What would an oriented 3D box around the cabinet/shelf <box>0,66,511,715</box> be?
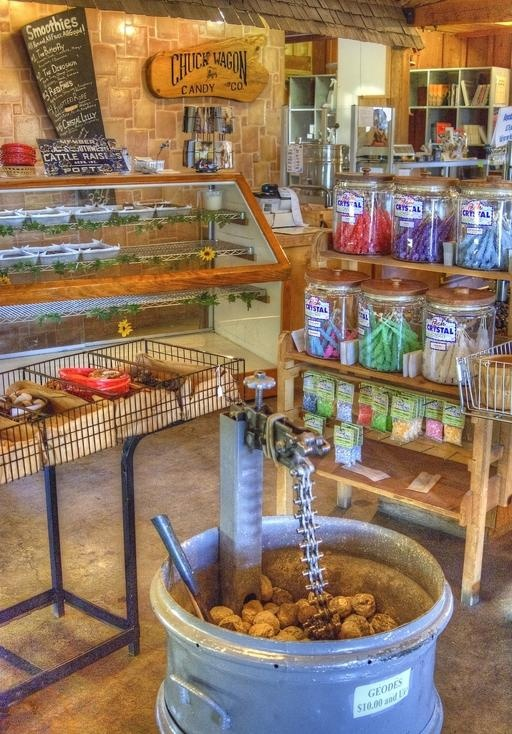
[{"bbox_3d":[-0.095,-0.185,3.219,2.810,2.157,2.697,-9,11,-20],"label":"cabinet/shelf"}]
